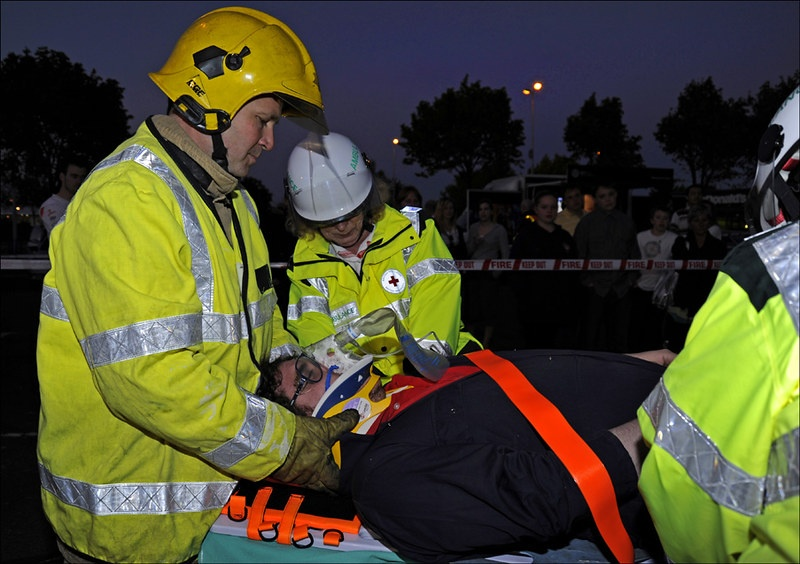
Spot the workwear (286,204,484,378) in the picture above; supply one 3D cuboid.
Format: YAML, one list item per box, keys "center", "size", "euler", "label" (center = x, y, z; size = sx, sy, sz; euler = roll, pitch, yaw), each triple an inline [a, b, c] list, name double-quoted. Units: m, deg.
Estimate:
- center: [-0.210, 0.080, 4.010]
  size: [1.013, 1.270, 0.363]
  euler: [-24, -36, -8]
  label: "workwear"

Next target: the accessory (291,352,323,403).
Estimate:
- center: [-0.433, 0.456, 3.298]
  size: [0.187, 0.056, 0.181]
  euler: [-49, 19, 24]
  label: "accessory"

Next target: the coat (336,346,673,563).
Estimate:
- center: [0.397, 0.694, 2.818]
  size: [0.893, 0.420, 0.945]
  euler: [-5, 6, 10]
  label: "coat"

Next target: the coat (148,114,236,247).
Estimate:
- center: [-0.795, -0.461, 2.835]
  size: [0.183, 0.501, 0.372]
  euler: [-34, 16, -14]
  label: "coat"

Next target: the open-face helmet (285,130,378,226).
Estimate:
- center: [-0.415, -0.592, 4.165]
  size: [0.510, 0.709, 0.359]
  euler: [-8, -31, 2]
  label: "open-face helmet"

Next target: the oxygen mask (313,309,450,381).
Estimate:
- center: [-0.119, 0.328, 3.366]
  size: [0.469, 0.263, 0.379]
  euler: [-18, 8, 3]
  label: "oxygen mask"

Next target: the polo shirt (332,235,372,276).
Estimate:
- center: [-0.276, -0.166, 4.146]
  size: [0.187, 0.140, 0.250]
  euler: [-34, 8, -8]
  label: "polo shirt"

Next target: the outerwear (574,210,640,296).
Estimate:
- center: [1.999, -0.265, 6.835]
  size: [0.713, 1.065, 0.365]
  euler: [-3, -2, -8]
  label: "outerwear"

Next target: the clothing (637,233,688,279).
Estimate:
- center: [2.607, -0.289, 7.168]
  size: [0.262, 0.500, 0.479]
  euler: [-21, 22, -40]
  label: "clothing"

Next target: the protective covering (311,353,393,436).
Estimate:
- center: [-0.192, 0.480, 3.245]
  size: [0.278, 0.229, 0.255]
  euler: [16, -51, -26]
  label: "protective covering"

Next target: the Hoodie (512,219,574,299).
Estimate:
- center: [1.416, -0.220, 6.939]
  size: [0.661, 0.746, 0.390]
  euler: [-3, 9, -13]
  label: "Hoodie"
